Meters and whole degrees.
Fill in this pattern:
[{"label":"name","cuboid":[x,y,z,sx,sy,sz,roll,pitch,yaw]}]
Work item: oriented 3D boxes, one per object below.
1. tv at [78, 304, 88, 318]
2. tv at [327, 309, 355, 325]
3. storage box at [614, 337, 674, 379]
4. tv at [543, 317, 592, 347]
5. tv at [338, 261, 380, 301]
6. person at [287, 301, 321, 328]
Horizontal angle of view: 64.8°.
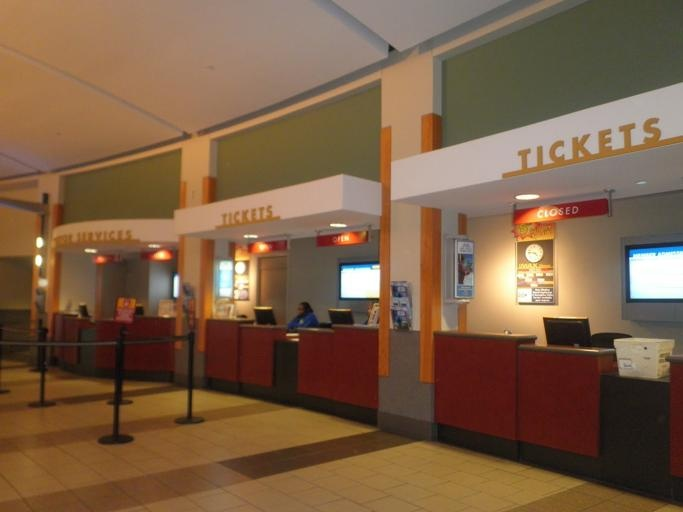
[{"label":"tv","cuboid":[-6.155,1.280,12.866,0.177,0.247,0.819,1,-1,-26]},{"label":"tv","cuboid":[0.001,1.007,9.043,0.409,0.285,0.301,-1,4,38]},{"label":"storage box","cuboid":[3.131,1.029,5.630,0.415,0.354,0.477,4,-5,-42]},{"label":"tv","cuboid":[2.708,0.922,6.535,0.512,0.352,0.336,0,-1,24]},{"label":"tv","cuboid":[0.419,0.580,12.799,1.342,0.907,0.047,1,-1,-42]},{"label":"person","cuboid":[-0.671,1.177,10.177,0.457,0.609,0.727,7,-10,-28]}]
